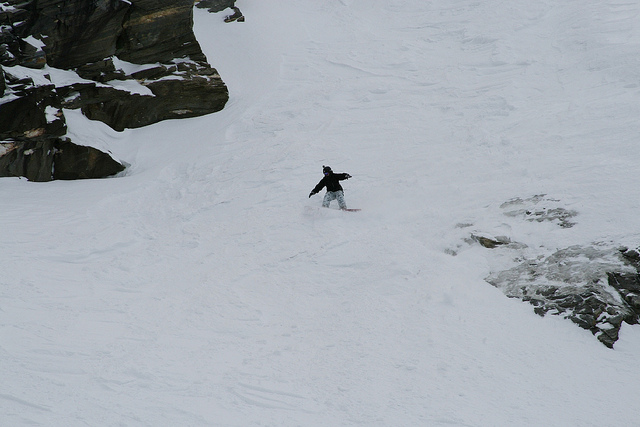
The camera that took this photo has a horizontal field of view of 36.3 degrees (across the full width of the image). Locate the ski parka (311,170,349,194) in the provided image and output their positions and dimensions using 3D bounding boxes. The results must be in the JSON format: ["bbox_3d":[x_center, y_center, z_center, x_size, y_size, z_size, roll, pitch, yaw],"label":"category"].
[{"bbox_3d":[0.385,-1.225,38.429,1.551,0.602,0.315,-16,31,11],"label":"ski parka"}]
